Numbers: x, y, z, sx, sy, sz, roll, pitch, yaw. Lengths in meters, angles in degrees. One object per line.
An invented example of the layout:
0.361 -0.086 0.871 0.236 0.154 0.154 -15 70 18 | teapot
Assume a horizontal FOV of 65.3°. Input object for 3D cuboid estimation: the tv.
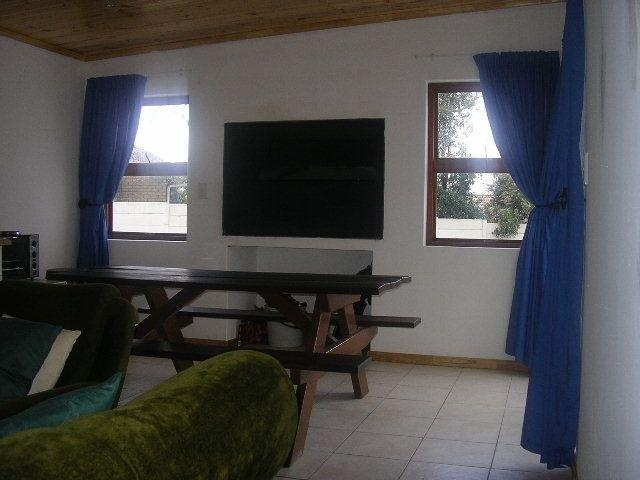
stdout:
-0.087 -0.624 5.047 1.204 0.902 0.056 1 1 16 | tv
